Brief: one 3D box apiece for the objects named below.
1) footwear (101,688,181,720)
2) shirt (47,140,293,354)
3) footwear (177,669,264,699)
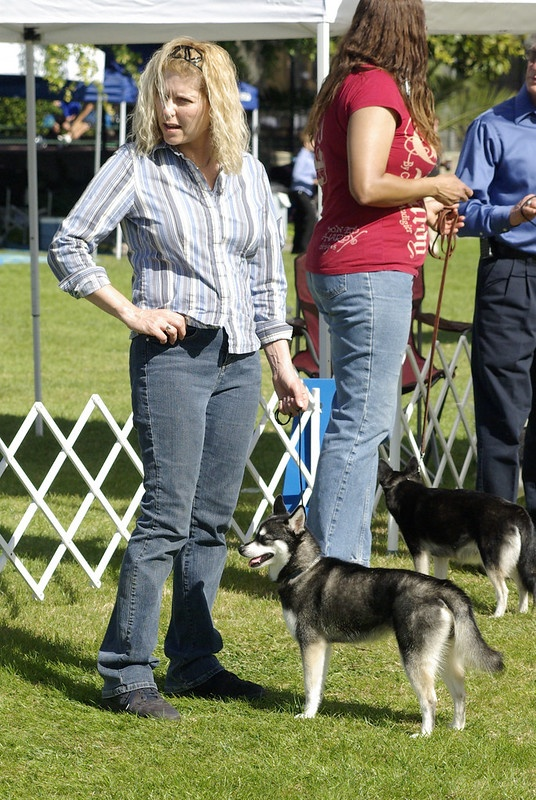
[{"bbox_3d":[-0.364,0.842,3.635,0.220,0.093,0.082,0,2,29],"label":"footwear"},{"bbox_3d":[-0.237,-0.438,3.593,0.710,0.641,0.260,3,3,-30],"label":"shirt"},{"bbox_3d":[-0.145,0.857,3.871,0.265,0.120,0.097,9,-9,-2],"label":"footwear"}]
